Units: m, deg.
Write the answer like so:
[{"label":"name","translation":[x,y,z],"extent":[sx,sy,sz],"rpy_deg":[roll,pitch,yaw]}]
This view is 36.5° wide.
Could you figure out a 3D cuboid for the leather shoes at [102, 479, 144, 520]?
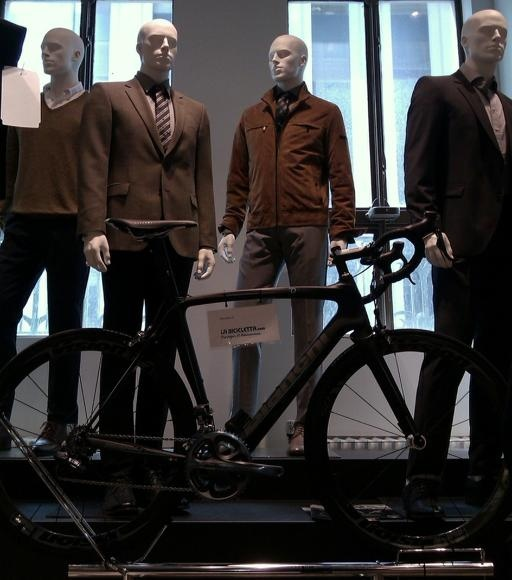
[{"label":"leather shoes","translation":[-0.421,0.655,2.411],"extent":[0.066,0.085,0.176],"rpy_deg":[1,-3,-11]}]
